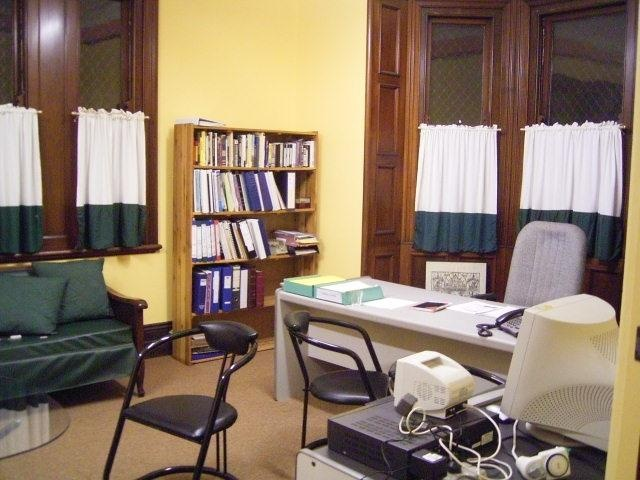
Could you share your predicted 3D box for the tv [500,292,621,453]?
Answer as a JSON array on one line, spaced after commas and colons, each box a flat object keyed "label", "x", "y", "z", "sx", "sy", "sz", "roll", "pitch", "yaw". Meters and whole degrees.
[{"label": "tv", "x": 1.015, "y": 0.477, "z": 1.985, "sx": 0.386, "sy": 0.537, "sz": 0.537, "roll": 15, "pitch": 23, "yaw": 42}]

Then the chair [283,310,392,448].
[{"label": "chair", "x": 0.155, "y": 0.961, "z": 3.241, "sx": 0.690, "sy": 0.944, "sz": 0.525, "roll": 2, "pitch": 8, "yaw": 8}]

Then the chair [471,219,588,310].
[{"label": "chair", "x": 1.690, "y": 0.173, "z": 4.020, "sx": 0.655, "sy": 0.801, "sz": 0.535, "roll": -2, "pitch": 5, "yaw": -42}]
